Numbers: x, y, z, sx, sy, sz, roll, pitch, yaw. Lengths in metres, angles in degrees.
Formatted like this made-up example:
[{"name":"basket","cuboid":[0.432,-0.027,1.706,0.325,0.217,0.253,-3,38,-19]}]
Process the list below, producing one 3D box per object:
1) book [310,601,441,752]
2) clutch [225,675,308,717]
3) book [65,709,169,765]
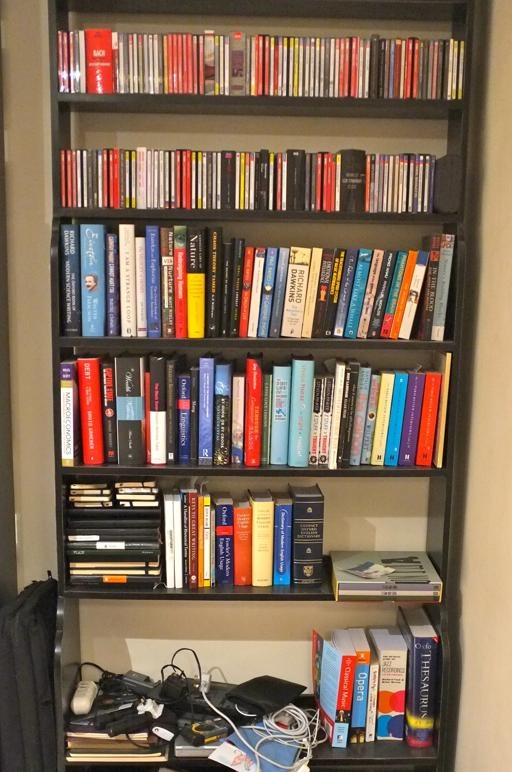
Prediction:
[{"name":"book","cuboid":[0.315,0.745,1.961,0.276,0.361,0.357,-2,20,-2]},{"name":"clutch","cuboid":[0.024,0.837,1.918,0.100,0.032,0.131,2,1,29]},{"name":"book","cuboid":[-0.365,0.901,1.777,0.158,0.037,0.158,0,0,-4]}]
